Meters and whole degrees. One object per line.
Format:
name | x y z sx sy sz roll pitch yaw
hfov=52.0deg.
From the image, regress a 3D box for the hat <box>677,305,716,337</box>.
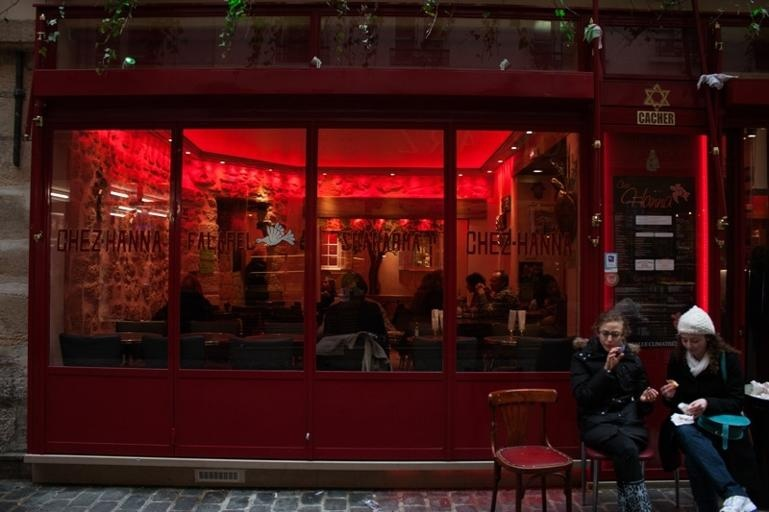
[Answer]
hat | 3.626 0.756 9.133 0.295 0.278 0.401 -1 -9 30
